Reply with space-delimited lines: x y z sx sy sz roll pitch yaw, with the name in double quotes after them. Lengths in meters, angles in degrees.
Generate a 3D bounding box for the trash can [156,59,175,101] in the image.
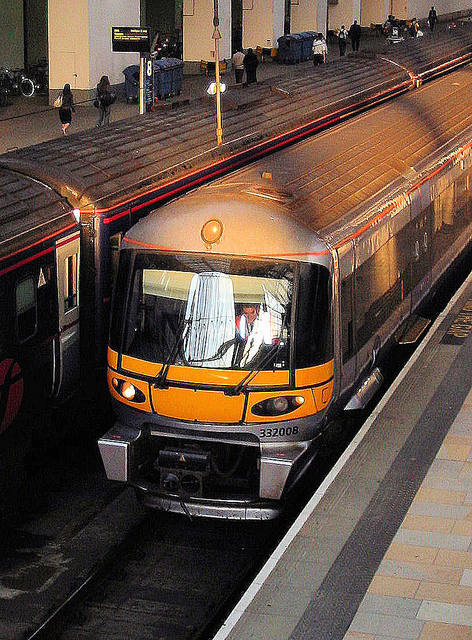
-3.631 -11.971 28.738 0.904 1.762 1.397 18 37 26 "trash can"

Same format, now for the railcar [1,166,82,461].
-2.071 -0.109 5.868 0.425 2.785 1.540 -3 0 16 "railcar"
